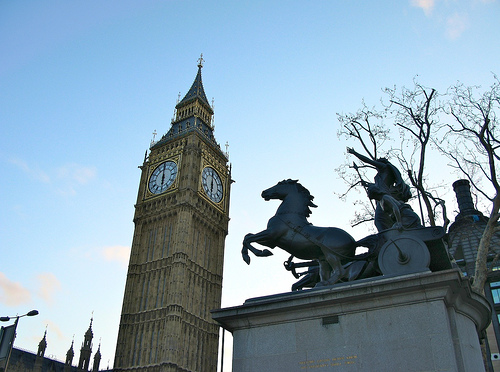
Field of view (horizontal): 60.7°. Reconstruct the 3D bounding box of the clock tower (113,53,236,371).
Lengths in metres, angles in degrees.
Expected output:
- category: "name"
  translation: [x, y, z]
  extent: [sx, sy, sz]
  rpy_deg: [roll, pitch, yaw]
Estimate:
- category: "clock tower"
  translation: [-9.793, -1.246, 66.687]
  extent: [13.085, 56.721, 7.435]
  rpy_deg: [7, -32, -8]
